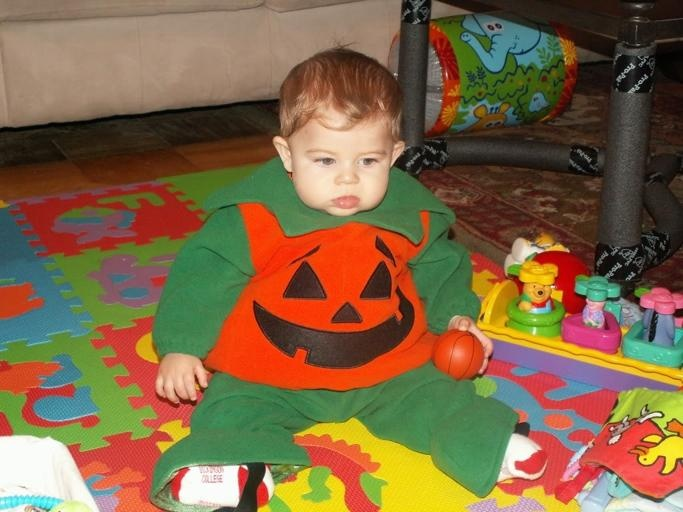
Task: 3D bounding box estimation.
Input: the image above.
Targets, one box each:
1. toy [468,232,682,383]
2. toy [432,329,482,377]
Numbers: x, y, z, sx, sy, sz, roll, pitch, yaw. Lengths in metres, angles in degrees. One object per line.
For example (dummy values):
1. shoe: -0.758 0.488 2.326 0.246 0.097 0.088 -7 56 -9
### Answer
1. toy: 0.415 0.092 1.041 0.334 0.083 0.238 21 26 39
2. toy: 0.188 0.162 0.989 0.093 0.071 0.093 4 -26 5
